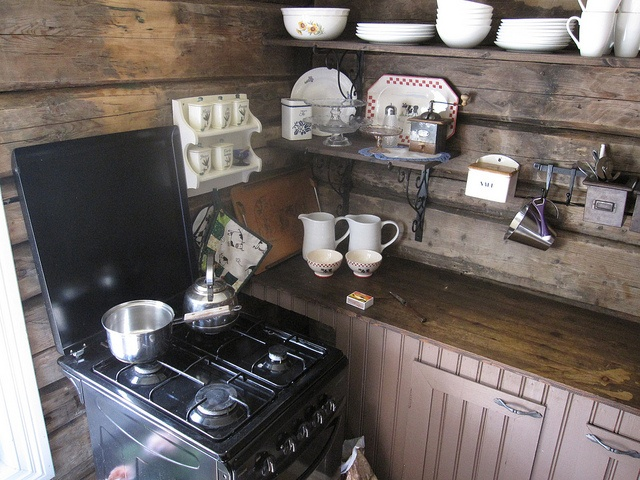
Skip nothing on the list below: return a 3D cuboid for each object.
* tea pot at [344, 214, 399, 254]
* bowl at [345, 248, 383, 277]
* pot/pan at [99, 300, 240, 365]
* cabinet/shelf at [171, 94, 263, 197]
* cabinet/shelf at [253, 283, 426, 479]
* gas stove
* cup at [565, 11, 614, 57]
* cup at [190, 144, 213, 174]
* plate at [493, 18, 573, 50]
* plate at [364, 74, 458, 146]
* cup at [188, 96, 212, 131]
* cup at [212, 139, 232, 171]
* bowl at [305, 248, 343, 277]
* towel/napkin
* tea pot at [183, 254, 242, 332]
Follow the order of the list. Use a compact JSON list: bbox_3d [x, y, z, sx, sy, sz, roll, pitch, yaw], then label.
[{"bbox_3d":[0.285,-0.013,2.379,0.299,0.189,0.167,3,29,-1],"label":"tea pot"},{"bbox_3d":[0.216,0.110,2.236,0.154,0.073,0.148,1,21,0],"label":"bowl"},{"bbox_3d":[-0.521,0.304,1.560,0.420,0.139,0.205,-1,21,-16],"label":"pot/pan"},{"bbox_3d":[-0.445,-0.479,2.001,0.384,0.343,0.099,-16,31,-22],"label":"cabinet/shelf"},{"bbox_3d":[0.098,0.590,1.793,0.685,0.643,0.354,20,33,36],"label":"cabinet/shelf"},{"bbox_3d":[-0.302,0.455,1.568,0.472,0.188,0.502,17,26,28],"label":"gas stove"},{"bbox_3d":[0.978,-0.745,1.616,0.166,0.150,0.117,10,27,22],"label":"cup"},{"bbox_3d":[-0.504,-0.338,1.870,0.082,0.133,0.093,18,32,28],"label":"cup"},{"bbox_3d":[0.803,-0.774,1.689,0.174,0.064,0.171,-17,23,-38],"label":"plate"},{"bbox_3d":[0.451,-0.619,2.129,0.402,0.271,0.022,16,23,32],"label":"plate"},{"bbox_3d":[-0.502,-0.516,1.838,0.093,0.152,0.099,7,27,-3],"label":"cup"},{"bbox_3d":[-0.434,-0.365,1.952,0.084,0.139,0.102,19,26,29],"label":"cup"},{"bbox_3d":[0.020,0.118,2.254,0.174,0.097,0.151,-1,24,-1],"label":"bowl"},{"bbox_3d":[-0.402,0.053,2.034,0.421,0.357,0.044,21,9,-42],"label":"towel/napkin"},{"bbox_3d":[-0.384,0.185,1.756,0.266,0.354,0.267,0,14,0],"label":"tea pot"}]
